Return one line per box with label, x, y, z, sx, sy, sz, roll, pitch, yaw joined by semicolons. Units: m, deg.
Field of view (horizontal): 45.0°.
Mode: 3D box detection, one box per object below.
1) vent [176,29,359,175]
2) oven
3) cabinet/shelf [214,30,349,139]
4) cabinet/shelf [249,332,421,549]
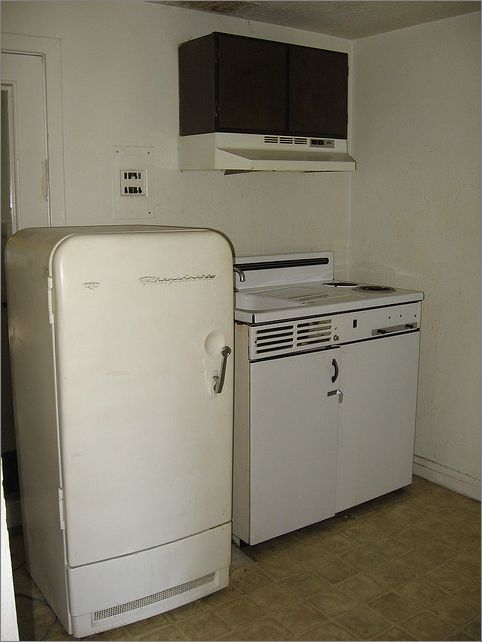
vent;0.136;-0.915;2.510;0.744;0.507;0.388;-11;16;-36
oven;0.263;0.335;2.665;1.078;1.015;0.649;-8;15;-39
cabinet/shelf;0.124;-0.934;2.510;0.780;0.451;0.228;-13;19;-38
cabinet/shelf;0.310;0.405;2.568;0.995;0.871;0.346;-6;10;-39
